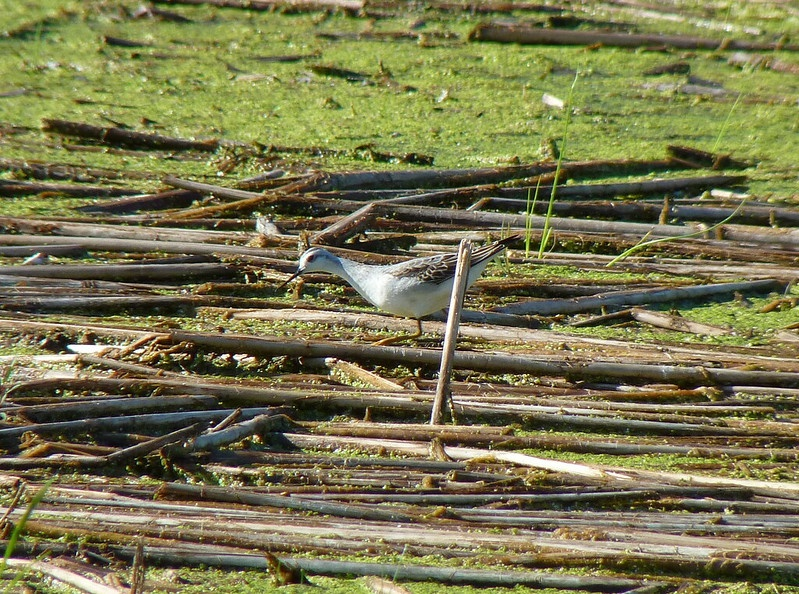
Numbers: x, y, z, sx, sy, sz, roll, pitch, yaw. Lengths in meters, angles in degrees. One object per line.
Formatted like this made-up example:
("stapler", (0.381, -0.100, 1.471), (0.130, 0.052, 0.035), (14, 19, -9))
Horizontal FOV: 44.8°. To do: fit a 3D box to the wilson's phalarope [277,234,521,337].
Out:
("wilson's phalarope", (-0.153, -0.031, 7.902), (1.472, 0.661, 1.016), (9, 42, 7))
